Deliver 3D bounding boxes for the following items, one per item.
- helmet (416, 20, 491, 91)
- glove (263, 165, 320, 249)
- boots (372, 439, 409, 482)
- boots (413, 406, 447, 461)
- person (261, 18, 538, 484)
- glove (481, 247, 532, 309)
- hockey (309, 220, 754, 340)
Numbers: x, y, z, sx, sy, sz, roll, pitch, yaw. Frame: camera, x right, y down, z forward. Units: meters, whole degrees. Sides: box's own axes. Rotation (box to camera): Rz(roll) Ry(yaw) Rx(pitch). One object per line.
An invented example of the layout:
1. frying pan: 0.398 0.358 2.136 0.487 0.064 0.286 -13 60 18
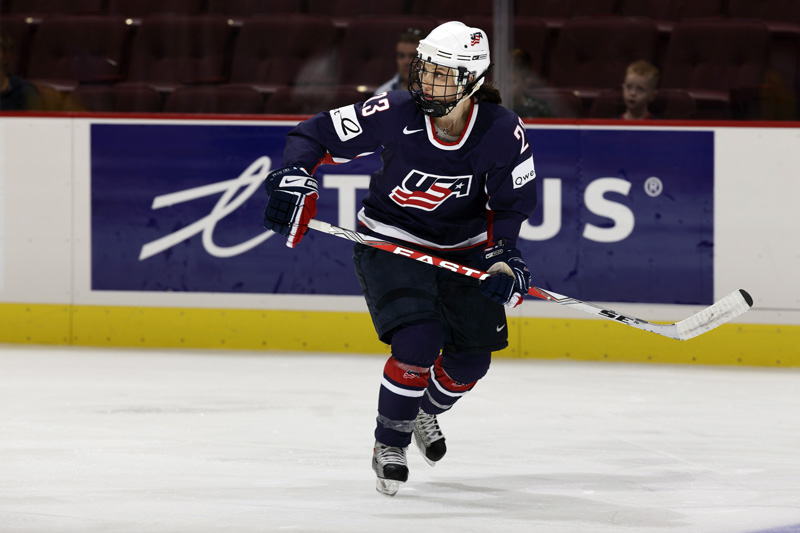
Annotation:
1. helmet: 0.244 -0.935 4.913 0.344 0.274 0.255 2 17 -26
2. glove: -0.487 -0.253 4.836 0.226 0.352 0.185 3 20 -4
3. boots: -0.042 0.841 4.789 0.154 0.110 0.176 4 19 1
4. boots: 0.140 0.784 5.106 0.103 0.280 0.124 -11 -8 -21
5. person: 0.031 -0.070 4.888 1.105 1.939 0.710 5 20 2
6. glove: 0.461 0.042 4.881 0.224 0.122 0.260 20 56 -15
7. hockey: 0.875 0.061 5.869 1.754 0.161 0.212 17 65 6
